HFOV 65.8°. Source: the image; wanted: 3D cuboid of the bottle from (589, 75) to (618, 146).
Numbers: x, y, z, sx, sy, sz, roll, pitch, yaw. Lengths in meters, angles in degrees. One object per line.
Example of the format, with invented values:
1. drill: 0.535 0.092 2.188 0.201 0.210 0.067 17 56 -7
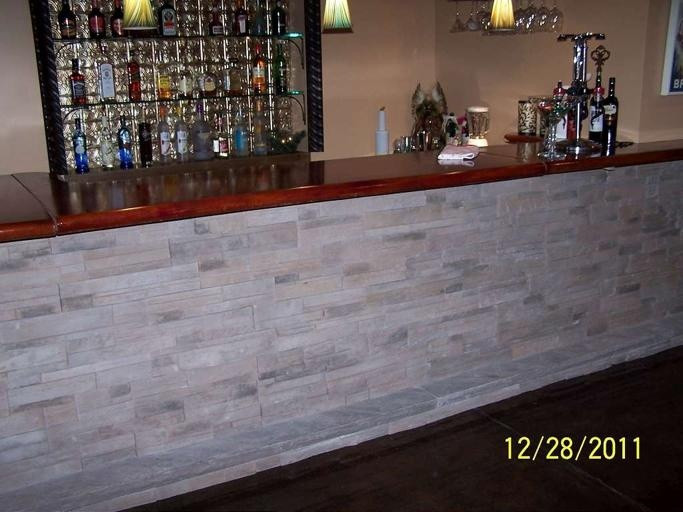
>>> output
1. bottle: 1.401 -0.768 2.826 0.138 0.336 0.348 4 18 25

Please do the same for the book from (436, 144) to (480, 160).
1. book: 0.552 -0.483 2.490 0.159 0.059 0.198 2 17 20
